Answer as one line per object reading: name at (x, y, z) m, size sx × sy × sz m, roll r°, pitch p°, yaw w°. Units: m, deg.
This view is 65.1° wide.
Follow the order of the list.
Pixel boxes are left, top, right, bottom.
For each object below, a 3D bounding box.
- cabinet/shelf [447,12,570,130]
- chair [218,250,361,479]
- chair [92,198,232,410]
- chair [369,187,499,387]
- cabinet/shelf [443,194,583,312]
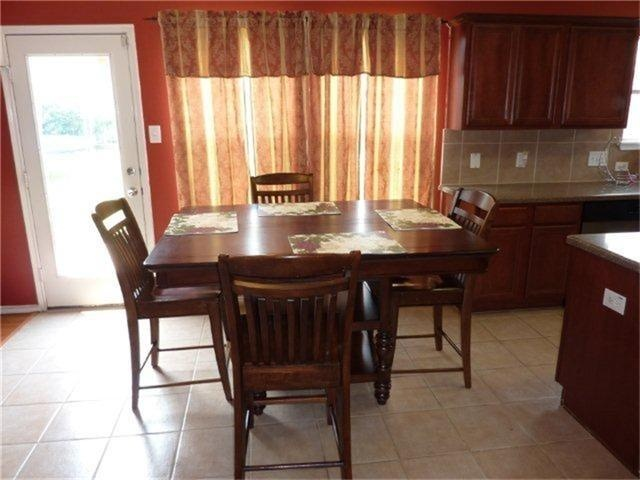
cabinet/shelf at (1.471, -1.347, 4.159) m, size 0.989 × 0.856 × 0.554 m, roll -7°, pitch 16°, yaw -19°
chair at (-0.158, 0.602, 2.576) m, size 0.695 × 1.242 × 0.556 m, roll -4°, pitch 18°, yaw -4°
chair at (-0.924, 0.371, 3.185) m, size 0.806 × 1.194 × 0.715 m, roll 2°, pitch 15°, yaw 2°
chair at (0.703, 0.286, 3.369) m, size 0.751 × 1.251 × 0.786 m, roll -3°, pitch 14°, yaw -16°
cabinet/shelf at (1.845, 0.190, 4.116) m, size 0.494 × 0.865 × 0.970 m, roll 15°, pitch -10°, yaw -24°
